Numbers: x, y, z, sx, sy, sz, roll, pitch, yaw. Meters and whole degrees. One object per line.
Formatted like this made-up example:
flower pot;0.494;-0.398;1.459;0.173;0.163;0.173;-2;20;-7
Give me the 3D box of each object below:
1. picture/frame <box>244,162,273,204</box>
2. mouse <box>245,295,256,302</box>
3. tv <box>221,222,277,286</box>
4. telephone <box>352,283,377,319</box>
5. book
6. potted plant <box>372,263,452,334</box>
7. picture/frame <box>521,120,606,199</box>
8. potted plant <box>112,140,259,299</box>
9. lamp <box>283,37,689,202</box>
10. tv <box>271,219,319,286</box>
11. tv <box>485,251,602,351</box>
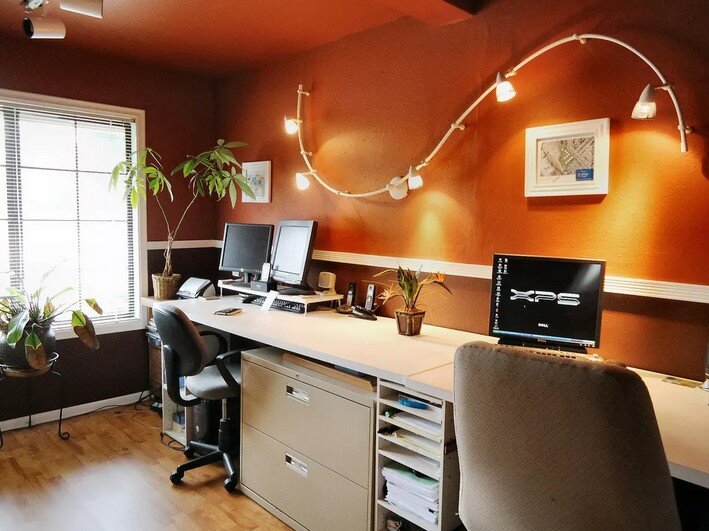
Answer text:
picture/frame;-0.826;-0.703;4.377;0.274;0.279;0.018;5;7;21
mouse;-0.795;0.260;3.896;0.069;0.044;0.042;-1;1;26
tv;-0.822;-0.087;4.052;0.127;0.354;0.482;21;-6;-43
telephone;0.056;0.228;3.537;0.207;0.229;0.163;13;-4;-23
book;0.281;0.882;2.435;0.355;0.542;0.116;10;13;41
potted plant;0.325;0.175;3.276;0.403;0.365;0.407;-4;8;-44
picture/frame;1.131;-0.561;2.714;0.430;0.415;0.030;3;3;37
potted plant;-1.318;-0.528;4.766;1.410;1.646;1.283;-7;17;-38
lamp;0.606;-0.731;2.676;2.472;0.878;0.238;-5;-5;-10
tv;-0.444;-0.096;3.777;0.210;0.514;0.426;16;-5;-42
tv;1.029;0.165;2.801;0.621;0.571;0.437;3;4;30
